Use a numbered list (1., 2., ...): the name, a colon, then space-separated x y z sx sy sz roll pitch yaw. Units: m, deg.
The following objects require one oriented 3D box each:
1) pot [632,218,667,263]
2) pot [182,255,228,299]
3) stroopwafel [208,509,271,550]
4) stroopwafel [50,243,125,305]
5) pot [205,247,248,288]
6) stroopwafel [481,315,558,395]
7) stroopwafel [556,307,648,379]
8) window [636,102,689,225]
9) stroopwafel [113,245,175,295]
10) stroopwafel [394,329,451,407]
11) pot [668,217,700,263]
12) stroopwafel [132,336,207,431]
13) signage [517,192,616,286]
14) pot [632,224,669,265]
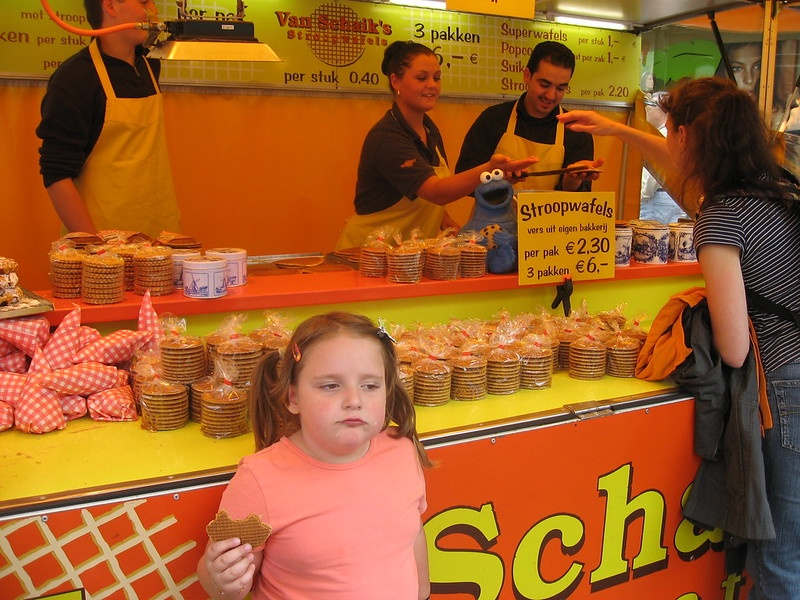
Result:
1. pot: 1.083 -0.247 2.756 0.165 0.163 0.173 -1 9 0
2. pot: -0.647 -0.070 2.081 0.149 0.108 0.143 1 9 0
3. stroopwafel: -0.321 0.485 1.266 0.105 0.022 0.166 16 -7 -4
4. stroopwafel: -1.016 -0.077 1.972 0.250 0.155 0.156 6 10 30
5. pot: -0.612 -0.119 2.242 0.144 0.121 0.146 1 8 0
6. stroopwafel: 0.398 0.191 2.126 0.211 0.122 0.276 0 9 2
7. stroopwafel: 0.727 0.159 2.275 0.243 0.124 0.285 2 8 14
8. window: 2.091 -1.144 5.058 0.226 0.720 0.191 13 30 2
9. stroopwafel: -0.841 -0.106 2.053 0.172 0.159 0.170 2 6 7
10. stroopwafel: 0.075 0.218 1.994 0.147 0.111 0.234 0 8 -2
11. pot: 1.264 -0.254 2.828 0.171 0.170 0.164 1 5 0
12. stroopwafel: -0.637 0.213 1.819 0.259 0.248 0.236 -1 16 -21
13. signage: 0.643 -0.235 2.372 0.475 0.364 0.015 -5 7 -24
14. pot: 1.083 -0.245 2.682 0.173 0.172 0.174 -1 10 0
